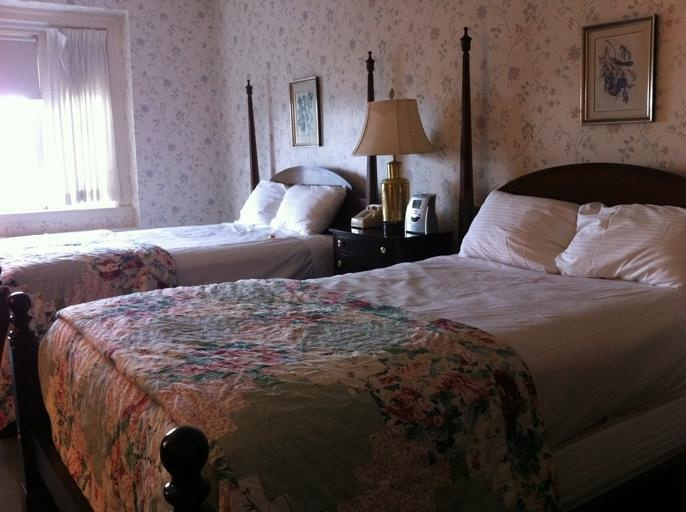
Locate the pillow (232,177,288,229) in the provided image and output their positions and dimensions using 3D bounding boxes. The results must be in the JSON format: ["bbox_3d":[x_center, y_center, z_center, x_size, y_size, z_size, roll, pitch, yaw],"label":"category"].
[{"bbox_3d":[-0.675,-0.454,4.405,0.128,0.429,0.440,30,-8,-40],"label":"pillow"}]

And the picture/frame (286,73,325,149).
[{"bbox_3d":[-0.314,-1.270,4.319,0.063,0.795,0.668,-7,8,-33],"label":"picture/frame"}]

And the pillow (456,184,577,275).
[{"bbox_3d":[0.950,-0.185,2.704,0.558,0.172,0.627,19,53,32],"label":"pillow"}]
